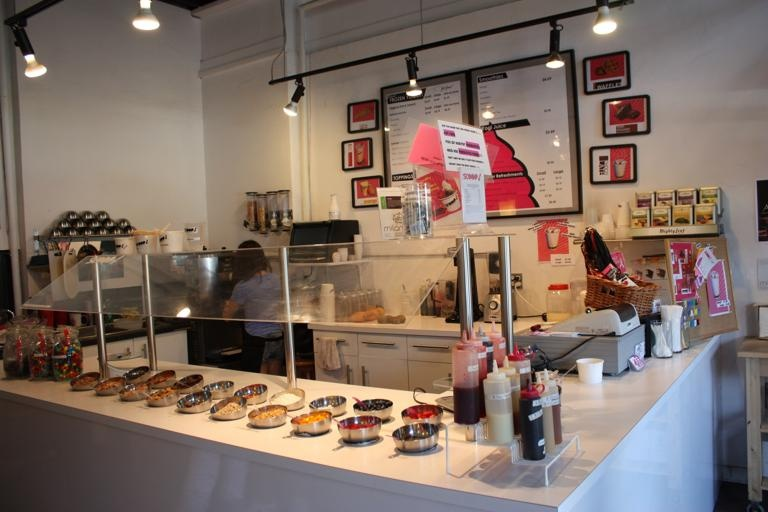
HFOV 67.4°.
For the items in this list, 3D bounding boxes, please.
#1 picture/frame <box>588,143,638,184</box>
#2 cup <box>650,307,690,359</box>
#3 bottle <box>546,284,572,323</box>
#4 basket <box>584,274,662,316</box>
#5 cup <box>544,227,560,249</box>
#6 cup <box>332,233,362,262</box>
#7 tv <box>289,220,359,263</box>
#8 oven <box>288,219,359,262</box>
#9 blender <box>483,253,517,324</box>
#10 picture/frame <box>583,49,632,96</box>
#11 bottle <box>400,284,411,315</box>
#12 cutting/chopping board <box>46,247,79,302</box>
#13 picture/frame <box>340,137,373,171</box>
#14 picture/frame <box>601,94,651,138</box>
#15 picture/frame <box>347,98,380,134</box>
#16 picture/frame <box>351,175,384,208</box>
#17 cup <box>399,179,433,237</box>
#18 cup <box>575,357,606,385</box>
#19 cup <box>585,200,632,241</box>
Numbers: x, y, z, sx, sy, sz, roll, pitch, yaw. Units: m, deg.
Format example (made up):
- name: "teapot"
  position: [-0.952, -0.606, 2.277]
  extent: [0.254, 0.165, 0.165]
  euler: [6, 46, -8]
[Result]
- name: "picture/frame"
  position: [1.873, -0.749, 4.646]
  extent: [0.348, 0.309, 0.024]
  euler: [0, 4, 35]
- name: "cup"
  position: [1.850, 0.487, 3.741]
  extent: [0.221, 0.364, 0.100]
  euler: [-3, -1, -27]
- name: "bottle"
  position: [1.434, 0.390, 4.682]
  extent: [0.204, 0.304, 0.187]
  euler: [-4, -2, 0]
- name: "basket"
  position: [1.578, 0.264, 4.026]
  extent: [0.318, 0.180, 0.427]
  euler: [5, 3, 23]
- name: "cup"
  position: [1.424, -0.152, 4.837]
  extent: [0.154, 0.166, 0.152]
  euler: [0, -5, 0]
- name: "cup"
  position: [-0.179, -0.043, 3.002]
  extent: [0.168, 0.112, 0.162]
  euler: [-2, -1, 0]
- name: "tv"
  position: [-0.562, -0.161, 5.617]
  extent: [0.713, 0.344, 0.719]
  euler: [-6, 7, -15]
- name: "oven"
  position: [-0.565, -0.149, 5.621]
  extent: [0.709, 0.370, 0.688]
  euler: [-11, 10, -31]
- name: "blender"
  position: [0.947, 0.258, 4.685]
  extent: [0.308, 0.578, 0.753]
  euler: [-3, 0, 16]
- name: "picture/frame"
  position: [1.824, -1.480, 4.643]
  extent: [0.409, 0.349, 0.040]
  euler: [0, -1, 19]
- name: "bottle"
  position: [0.115, 0.214, 2.803]
  extent: [0.043, 0.142, 0.083]
  euler: [-2, -1, -38]
- name: "cutting/chopping board"
  position: [-2.159, 0.132, 3.875]
  extent: [0.115, 0.307, 0.314]
  euler: [-1, -10, -42]
- name: "picture/frame"
  position: [-0.250, -0.995, 5.614]
  extent: [0.351, 0.295, 0.035]
  euler: [0, -1, 31]
- name: "picture/frame"
  position: [1.957, -1.116, 4.599]
  extent: [0.374, 0.318, 0.040]
  euler: [-1, -3, 28]
- name: "picture/frame"
  position: [-0.179, -1.350, 5.565]
  extent: [0.366, 0.313, 0.049]
  euler: [-1, -4, 25]
- name: "picture/frame"
  position: [-0.145, -0.604, 5.358]
  extent: [0.463, 0.396, 0.048]
  euler: [-1, -3, 31]
- name: "cup"
  position: [0.176, -0.233, 2.999]
  extent: [0.146, 0.266, 0.066]
  euler: [-3, -1, 2]
- name: "cup"
  position: [1.206, 0.670, 3.363]
  extent: [0.145, 0.107, 0.132]
  euler: [-2, 0, 0]
- name: "cup"
  position: [1.798, -0.271, 4.512]
  extent: [0.407, 0.404, 0.268]
  euler: [-1, -1, 17]
